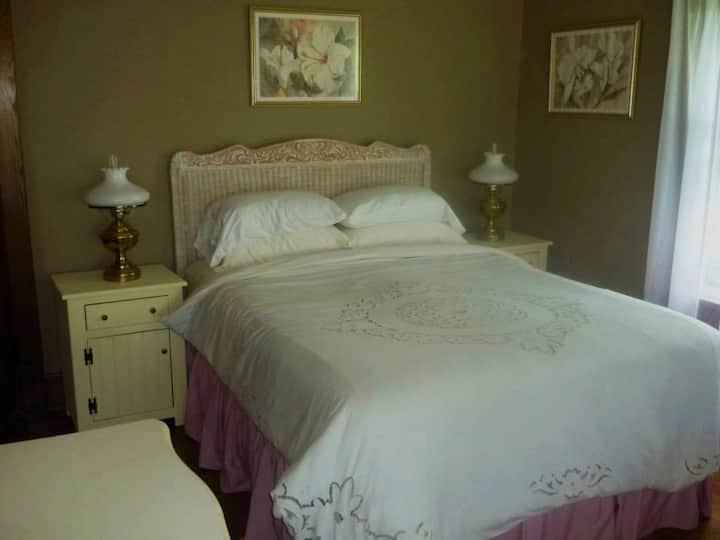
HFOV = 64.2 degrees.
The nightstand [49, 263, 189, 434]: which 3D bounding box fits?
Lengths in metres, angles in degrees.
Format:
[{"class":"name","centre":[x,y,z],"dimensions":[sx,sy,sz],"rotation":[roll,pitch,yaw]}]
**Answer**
[{"class":"nightstand","centre":[-1.469,0.498,3.650],"dimensions":[0.681,0.922,0.594],"rotation":[-3,12,-19]}]

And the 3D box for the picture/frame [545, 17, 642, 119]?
[{"class":"picture/frame","centre":[1.794,-1.534,4.344],"dimensions":[0.035,0.687,0.791],"rotation":[-7,14,-31]}]

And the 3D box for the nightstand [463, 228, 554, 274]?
[{"class":"nightstand","centre":[1.218,-0.209,4.653],"dimensions":[0.496,0.513,0.365],"rotation":[-11,24,-31]}]

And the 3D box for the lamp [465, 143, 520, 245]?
[{"class":"lamp","centre":[1.080,-0.630,4.692],"dimensions":[0.394,0.761,0.401],"rotation":[0,15,3]}]
